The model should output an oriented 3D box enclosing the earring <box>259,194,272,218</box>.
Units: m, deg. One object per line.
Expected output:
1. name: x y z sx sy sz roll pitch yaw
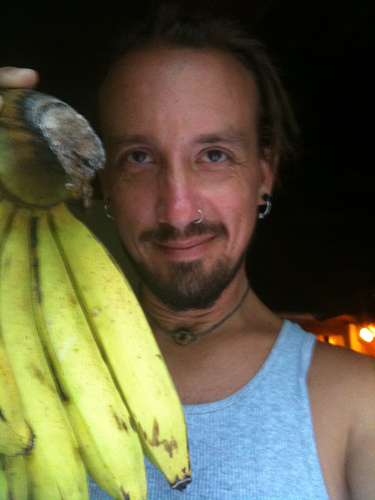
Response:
1. earring: 0.237 -0.134 1.633 0.030 0.071 0.045 7 20 -7
